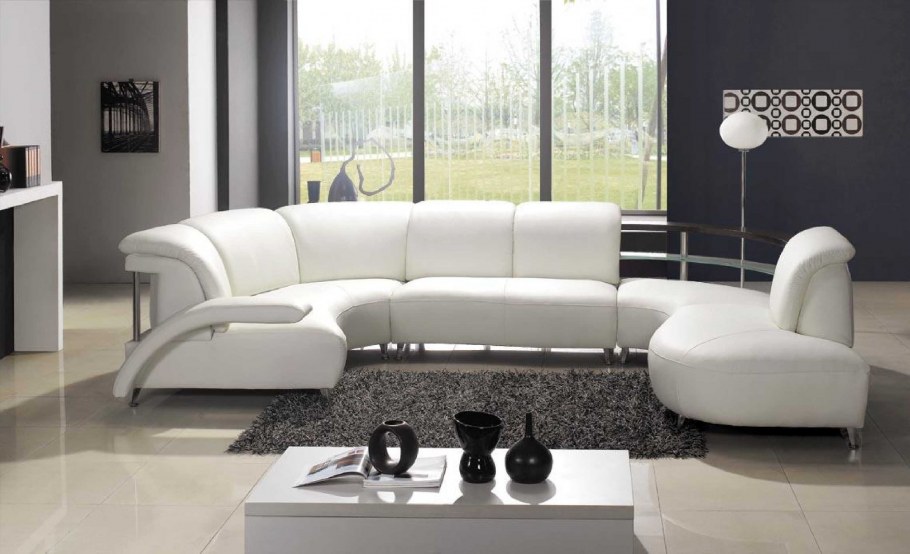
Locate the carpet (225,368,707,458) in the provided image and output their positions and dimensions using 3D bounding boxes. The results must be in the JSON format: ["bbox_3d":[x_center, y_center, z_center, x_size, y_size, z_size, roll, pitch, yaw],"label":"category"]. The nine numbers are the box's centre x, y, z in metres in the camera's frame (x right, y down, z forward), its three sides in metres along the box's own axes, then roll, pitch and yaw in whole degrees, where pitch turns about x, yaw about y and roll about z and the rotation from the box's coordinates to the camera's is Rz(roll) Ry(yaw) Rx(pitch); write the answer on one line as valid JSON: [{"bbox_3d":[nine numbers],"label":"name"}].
[{"bbox_3d":[0.153,0.845,4.281,2.702,0.151,1.062,-1,13,2],"label":"carpet"}]
